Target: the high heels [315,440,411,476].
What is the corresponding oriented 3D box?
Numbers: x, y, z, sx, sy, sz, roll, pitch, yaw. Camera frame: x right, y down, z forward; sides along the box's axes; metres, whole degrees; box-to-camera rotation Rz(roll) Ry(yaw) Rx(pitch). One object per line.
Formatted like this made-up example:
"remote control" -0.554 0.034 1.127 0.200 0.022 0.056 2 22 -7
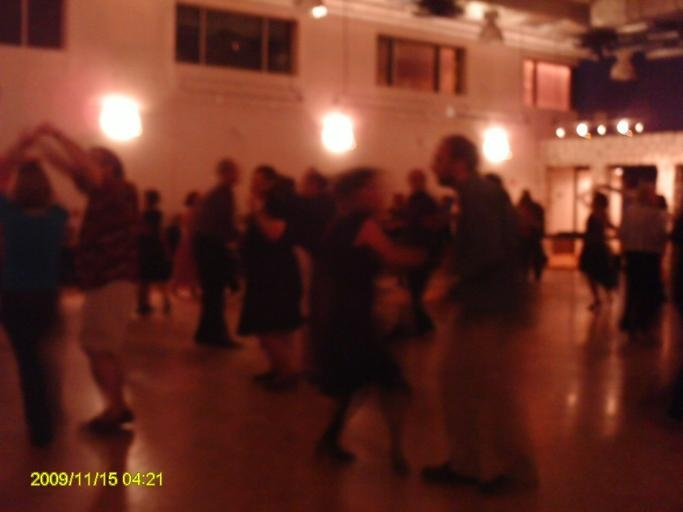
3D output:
"high heels" 0.125 1.195 3.809 0.567 0.164 0.119 3 9 13
